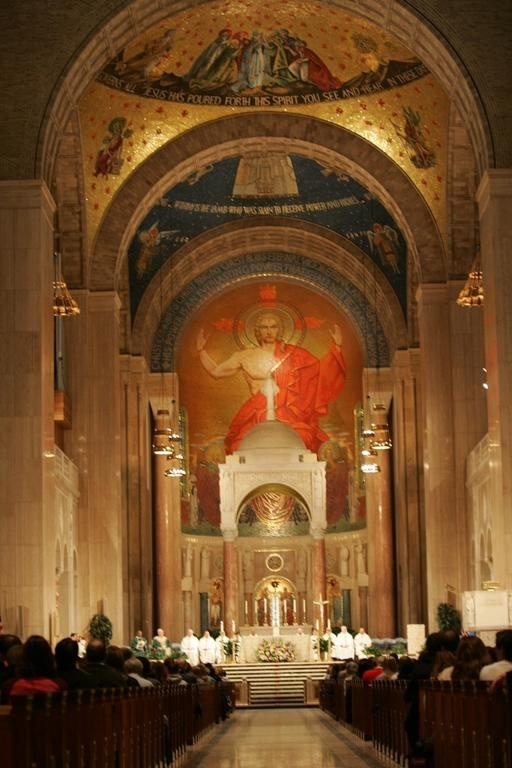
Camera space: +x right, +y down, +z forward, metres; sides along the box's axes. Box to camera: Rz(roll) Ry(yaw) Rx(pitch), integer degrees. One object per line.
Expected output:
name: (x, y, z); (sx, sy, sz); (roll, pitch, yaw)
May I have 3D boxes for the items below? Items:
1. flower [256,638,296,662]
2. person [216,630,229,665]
flower: (0.545, 6.714, 27.971); (0.676, 0.384, 0.683); (1, 2, 37)
person: (-0.903, 6.968, 29.198); (0.486, 0.431, 1.095); (-3, 24, 2)
